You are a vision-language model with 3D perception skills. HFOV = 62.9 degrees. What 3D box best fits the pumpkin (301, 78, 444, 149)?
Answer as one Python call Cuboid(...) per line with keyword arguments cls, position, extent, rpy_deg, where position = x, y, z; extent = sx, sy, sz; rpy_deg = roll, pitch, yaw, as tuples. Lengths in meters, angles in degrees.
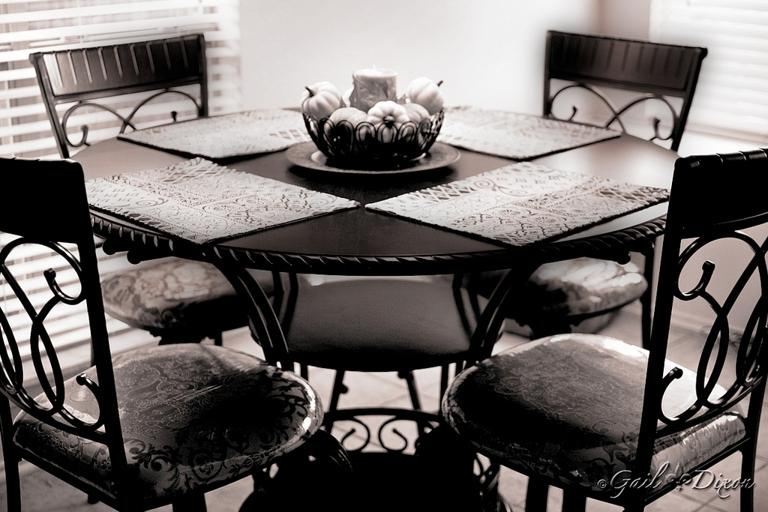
Cuboid(cls="pumpkin", position=(-0.019, -0.405, 1.683), extent=(0.347, 0.217, 0.371), rpy_deg=(-16, 27, -36))
